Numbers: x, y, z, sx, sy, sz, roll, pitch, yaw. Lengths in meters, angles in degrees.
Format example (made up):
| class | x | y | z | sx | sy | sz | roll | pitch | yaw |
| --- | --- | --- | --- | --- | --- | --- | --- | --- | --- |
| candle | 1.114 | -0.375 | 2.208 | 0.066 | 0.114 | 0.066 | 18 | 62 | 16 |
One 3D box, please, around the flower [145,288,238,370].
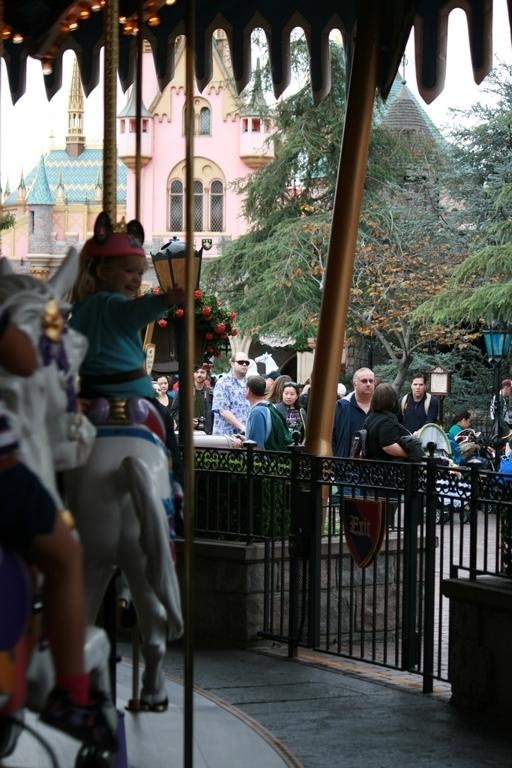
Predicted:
| class | x | y | z | sx | sy | sz | roll | pitch | yaw |
| --- | --- | --- | --- | --- | --- | --- | --- | --- | --- |
| flower | -0.588 | -0.506 | 11.516 | 1.023 | 1.107 | 0.965 | 2 | -8 | -17 |
